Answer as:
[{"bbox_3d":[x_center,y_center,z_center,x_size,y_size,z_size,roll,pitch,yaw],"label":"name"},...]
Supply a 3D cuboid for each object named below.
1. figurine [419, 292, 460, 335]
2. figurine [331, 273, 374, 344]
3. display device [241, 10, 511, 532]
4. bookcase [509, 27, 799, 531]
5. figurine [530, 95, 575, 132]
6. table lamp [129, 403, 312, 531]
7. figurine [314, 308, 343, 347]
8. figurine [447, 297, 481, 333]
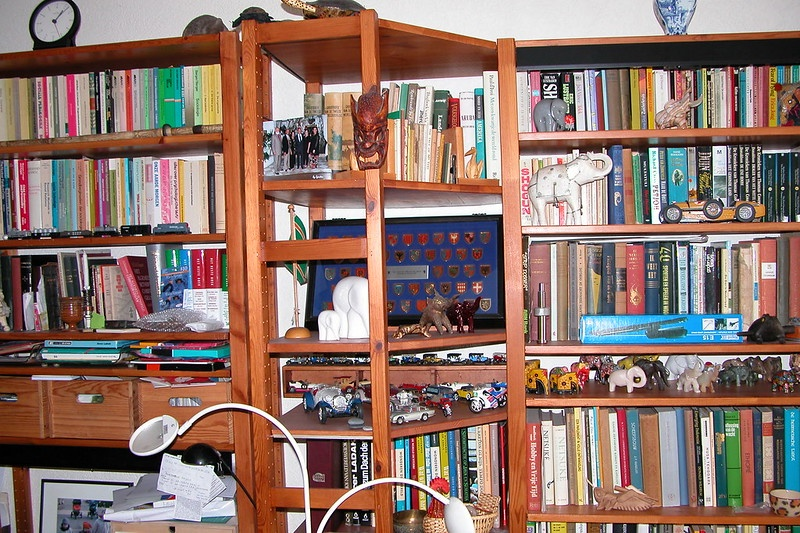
[{"bbox_3d":[0.152,0.189,3.793,0.216,0.160,0.083,-4,-7,40],"label":"figurine"},{"bbox_3d":[-0.190,0.165,3.698,0.162,0.219,0.227,4,-7,-40],"label":"figurine"},{"bbox_3d":[-0.131,-0.080,3.789,0.995,1.347,0.515,-2,-1,-10],"label":"display device"},{"bbox_3d":[1.002,0.057,3.791,1.180,1.688,0.277,-2,-1,5],"label":"bookcase"},{"bbox_3d":[0.620,-0.615,3.773,0.158,0.153,0.121,-1,4,1],"label":"figurine"},{"bbox_3d":[-0.688,0.734,3.525,0.619,0.466,0.583,-2,-1,-14],"label":"table lamp"},{"bbox_3d":[-0.277,0.232,3.774,0.117,0.119,0.100,-4,-6,36],"label":"figurine"},{"bbox_3d":[0.264,0.204,3.833,0.081,0.140,0.215,-3,-3,-41],"label":"figurine"}]
